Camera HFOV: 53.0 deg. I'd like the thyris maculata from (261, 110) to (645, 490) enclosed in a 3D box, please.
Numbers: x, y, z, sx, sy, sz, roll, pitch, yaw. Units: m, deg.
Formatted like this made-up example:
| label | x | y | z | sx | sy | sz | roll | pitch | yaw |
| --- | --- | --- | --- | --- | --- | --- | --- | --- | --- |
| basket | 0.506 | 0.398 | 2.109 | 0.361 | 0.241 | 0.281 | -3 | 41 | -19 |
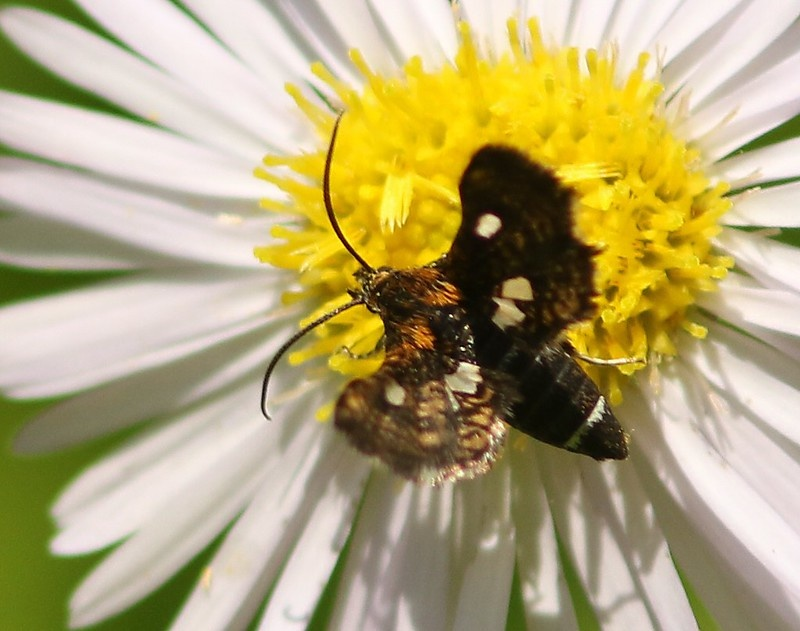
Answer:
| label | x | y | z | sx | sy | sz | roll | pitch | yaw |
| --- | --- | --- | --- | --- | --- | --- | --- | --- | --- |
| thyris maculata | 0.074 | 0.001 | 0.972 | 0.336 | 0.289 | 0.391 | -8 | -73 | 14 |
